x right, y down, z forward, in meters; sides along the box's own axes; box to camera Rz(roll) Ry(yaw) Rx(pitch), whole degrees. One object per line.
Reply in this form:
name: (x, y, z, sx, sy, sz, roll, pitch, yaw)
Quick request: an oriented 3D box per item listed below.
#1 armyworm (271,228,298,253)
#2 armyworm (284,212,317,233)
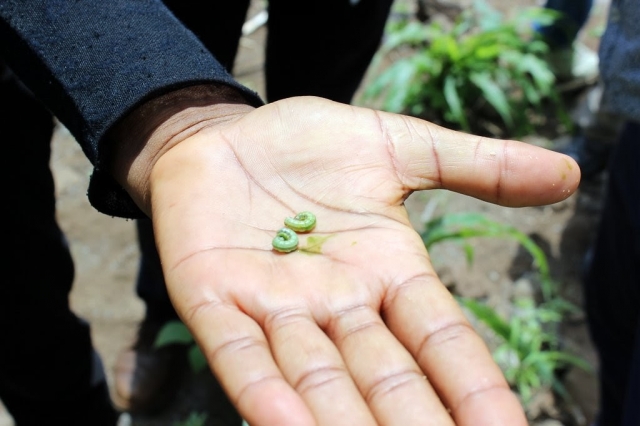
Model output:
armyworm: (-0.229, 0.189, 3.678, 0.176, 0.111, 0.122, 2, 53, -2)
armyworm: (-0.124, 0.064, 3.748, 0.157, 0.069, 0.143, 10, 53, 9)
